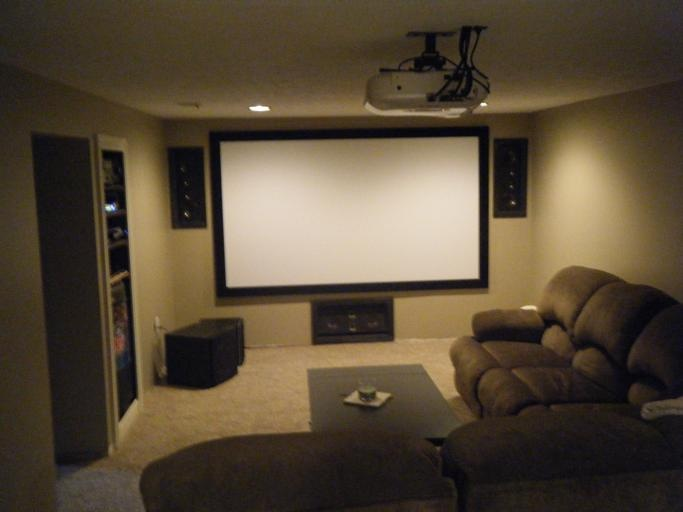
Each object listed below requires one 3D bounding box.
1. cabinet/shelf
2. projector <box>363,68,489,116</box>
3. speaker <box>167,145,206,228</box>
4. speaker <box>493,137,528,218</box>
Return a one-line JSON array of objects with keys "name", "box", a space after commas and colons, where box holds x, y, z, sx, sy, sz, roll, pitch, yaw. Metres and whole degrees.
[{"name": "cabinet/shelf", "box": [-1.965, 0.265, 4.482, 0.568, 2.343, 0.968, -4, 13, -12]}, {"name": "projector", "box": [0.515, -1.014, 3.750, 0.614, 0.251, 0.354, -1, 1, -5]}, {"name": "speaker", "box": [-1.666, -0.733, 6.355, 0.405, 0.879, 0.170, -5, 13, -18]}, {"name": "speaker", "box": [1.914, -0.873, 6.576, 0.394, 0.872, 0.137, -3, 12, -9]}]
